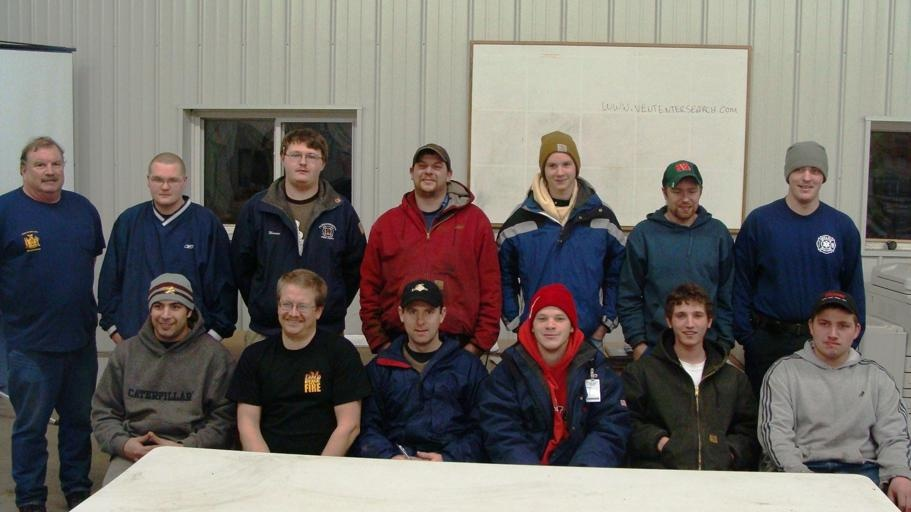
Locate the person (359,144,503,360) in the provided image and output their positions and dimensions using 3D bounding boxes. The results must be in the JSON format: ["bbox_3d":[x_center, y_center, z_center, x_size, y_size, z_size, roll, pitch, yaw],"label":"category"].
[{"bbox_3d":[-0.249,0.522,8.424,1.219,2.888,0.696,1,-7,4],"label":"person"}]

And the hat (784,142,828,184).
[{"bbox_3d":[3.133,-0.829,8.346,0.365,0.395,0.400,2,-5,45],"label":"hat"}]

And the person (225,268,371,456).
[{"bbox_3d":[-1.323,1.006,7.977,1.114,1.706,0.977,8,7,44],"label":"person"}]

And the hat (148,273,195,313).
[{"bbox_3d":[-2.480,0.288,8.162,0.376,0.329,0.369,14,-18,-35],"label":"hat"}]

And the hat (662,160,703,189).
[{"bbox_3d":[1.995,-0.693,8.357,0.213,0.196,0.322,-5,-7,4],"label":"hat"}]

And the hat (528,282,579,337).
[{"bbox_3d":[0.837,0.481,8.072,0.372,0.495,0.512,-3,-4,32],"label":"hat"}]

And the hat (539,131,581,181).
[{"bbox_3d":[0.969,-0.882,8.496,0.336,0.447,0.461,1,0,17],"label":"hat"}]

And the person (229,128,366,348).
[{"bbox_3d":[-1.411,0.467,8.621,1.114,3.209,0.756,-2,9,-21],"label":"person"}]

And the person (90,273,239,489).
[{"bbox_3d":[-2.468,1.295,8.062,1.212,2.238,1.171,-1,13,-26],"label":"person"}]

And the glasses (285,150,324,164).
[{"bbox_3d":[-1.324,-0.867,8.279,0.326,0.098,0.064,0,2,-13],"label":"glasses"}]

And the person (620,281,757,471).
[{"bbox_3d":[2.002,1.175,7.938,1.217,1.825,1.030,2,-5,-3],"label":"person"}]
